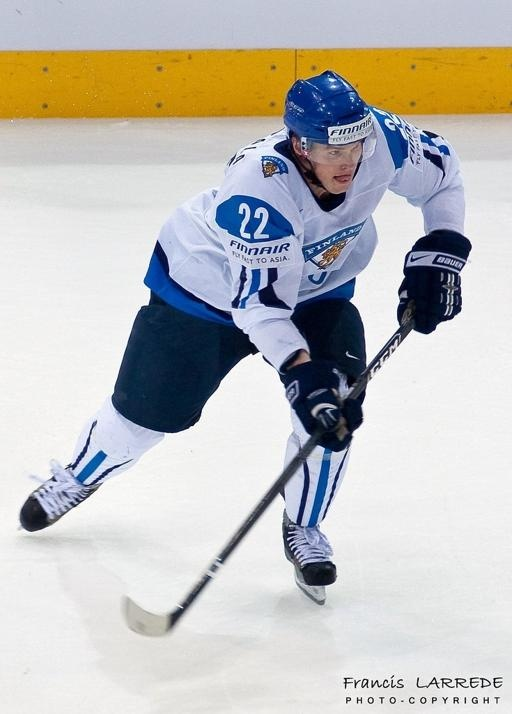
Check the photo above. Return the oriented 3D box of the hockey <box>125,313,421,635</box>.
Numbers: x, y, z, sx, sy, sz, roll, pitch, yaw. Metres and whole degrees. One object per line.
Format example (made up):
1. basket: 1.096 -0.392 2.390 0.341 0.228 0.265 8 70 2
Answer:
1. hockey: 0.028 0.286 1.854 0.880 0.068 0.158 -45 -2 -22

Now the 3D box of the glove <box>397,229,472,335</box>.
1. glove: 0.411 -0.160 1.862 0.158 0.231 0.078 26 9 35

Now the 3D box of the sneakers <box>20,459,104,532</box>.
1. sneakers: -0.487 0.348 2.052 0.245 0.104 0.093 -32 -4 -26

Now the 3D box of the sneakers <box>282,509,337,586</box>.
1. sneakers: 0.117 0.419 1.776 0.066 0.078 0.179 -6 18 -16
